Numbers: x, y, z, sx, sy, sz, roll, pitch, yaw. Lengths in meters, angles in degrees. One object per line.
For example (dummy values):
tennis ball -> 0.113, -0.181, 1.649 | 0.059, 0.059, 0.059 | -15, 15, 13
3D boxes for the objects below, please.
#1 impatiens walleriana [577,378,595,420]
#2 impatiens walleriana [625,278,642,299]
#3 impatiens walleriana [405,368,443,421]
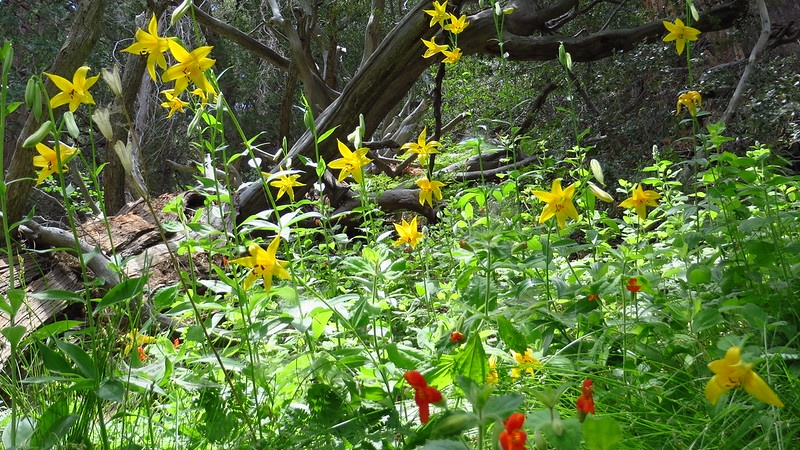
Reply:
impatiens walleriana -> 0.805, 0.764, 2.739 | 0.067, 0.173, 0.167 | -4, -7, 21
impatiens walleriana -> 1.180, 0.319, 3.183 | 0.088, 0.095, 0.045 | 19, 5, 16
impatiens walleriana -> 0.110, 0.780, 2.833 | 0.162, 0.248, 0.216 | -2, -7, 3
